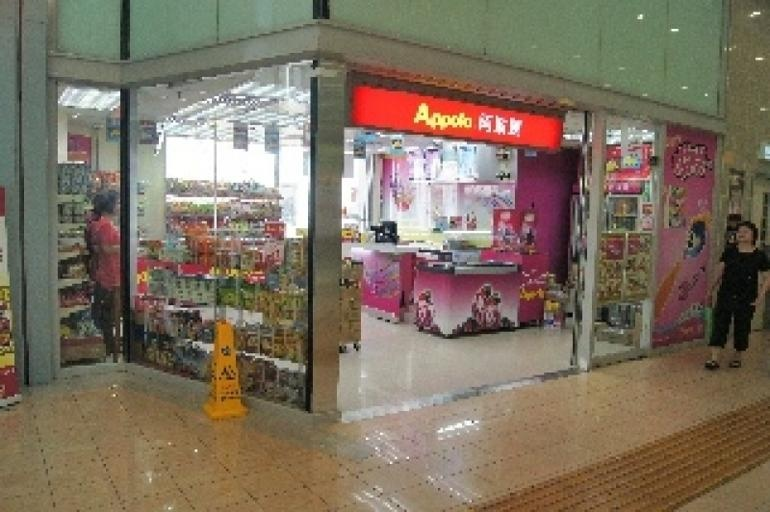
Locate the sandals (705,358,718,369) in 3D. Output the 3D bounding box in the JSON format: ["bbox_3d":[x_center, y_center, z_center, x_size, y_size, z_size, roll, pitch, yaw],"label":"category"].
[{"bbox_3d":[4.404,1.465,8.955,0.094,0.072,0.179,4,6,25],"label":"sandals"}]

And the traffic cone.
[{"bbox_3d":[-1.740,1.222,7.197,0.440,0.943,0.483,-3,12,-17],"label":"traffic cone"}]

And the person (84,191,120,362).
[{"bbox_3d":[-3.456,0.247,8.202,0.355,2.053,0.393,-2,11,-15],"label":"person"}]
